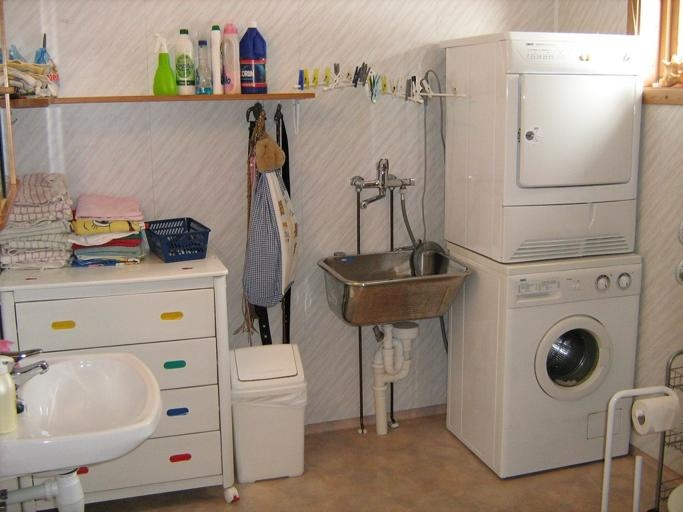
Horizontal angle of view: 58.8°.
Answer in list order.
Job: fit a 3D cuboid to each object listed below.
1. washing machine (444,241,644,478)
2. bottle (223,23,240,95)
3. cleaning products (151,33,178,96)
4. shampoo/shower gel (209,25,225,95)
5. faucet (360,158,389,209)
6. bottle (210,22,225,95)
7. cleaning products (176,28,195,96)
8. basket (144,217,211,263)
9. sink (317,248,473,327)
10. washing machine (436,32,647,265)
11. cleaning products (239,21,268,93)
[{"bbox_3d":[1.084,0.544,3.212,0.979,1.173,0.444,-4,11,4],"label":"washing machine"},{"bbox_3d":[-0.560,-0.990,3.054,0.097,0.337,0.068,-6,11,-9],"label":"bottle"},{"bbox_3d":[-0.891,-0.939,3.009,0.113,0.285,0.098,-7,11,-15],"label":"cleaning products"},{"bbox_3d":[-0.633,-0.988,3.074,0.076,0.350,0.244,-6,11,-10],"label":"shampoo/shower gel"},{"bbox_3d":[0.197,-0.399,3.396,0.204,0.274,0.178,-6,11,-10],"label":"faucet"},{"bbox_3d":[-0.633,-0.987,3.074,0.076,0.350,0.246,-6,11,-10],"label":"bottle"},{"bbox_3d":[-0.792,-0.965,3.026,0.100,0.315,0.076,-6,11,-9],"label":"cleaning products"},{"bbox_3d":[-0.849,-0.091,3.110,0.225,0.141,0.305,-4,19,-23],"label":"basket"},{"bbox_3d":[0.302,0.179,3.157,0.598,0.236,0.460,-4,14,-18],"label":"sink"},{"bbox_3d":[0.992,-0.555,3.457,1.018,1.528,1.071,-4,10,-20],"label":"washing machine"},{"bbox_3d":[-0.450,-0.999,3.079,0.152,0.343,0.099,-8,12,-20],"label":"cleaning products"}]
